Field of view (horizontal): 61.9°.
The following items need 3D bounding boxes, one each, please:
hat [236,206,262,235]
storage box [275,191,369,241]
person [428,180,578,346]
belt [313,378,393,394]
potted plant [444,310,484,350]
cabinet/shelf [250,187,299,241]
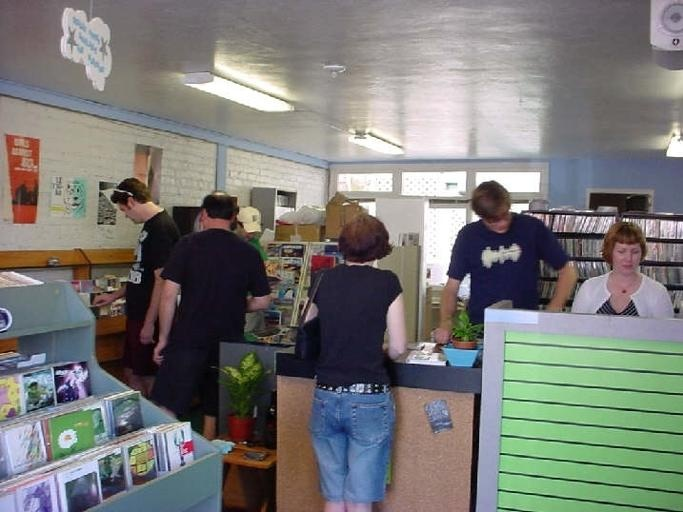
[{"bbox_3d":[-0.928,-0.352,5.825,0.236,0.178,0.347,0,23,-36],"label":"hat"},{"bbox_3d":[-0.198,-0.402,6.969,0.828,0.467,0.796,-1,5,19],"label":"storage box"},{"bbox_3d":[1.112,-0.017,3.906,0.960,0.967,0.707,0,2,-1],"label":"person"},{"bbox_3d":[0.045,0.649,2.852,0.367,0.063,0.084,0,2,5],"label":"belt"},{"bbox_3d":[0.695,0.412,3.239,0.245,0.226,0.239,1,-5,-7],"label":"potted plant"},{"bbox_3d":[-1.052,-0.636,8.558,0.401,0.972,1.183,1,3,13],"label":"cabinet/shelf"}]
